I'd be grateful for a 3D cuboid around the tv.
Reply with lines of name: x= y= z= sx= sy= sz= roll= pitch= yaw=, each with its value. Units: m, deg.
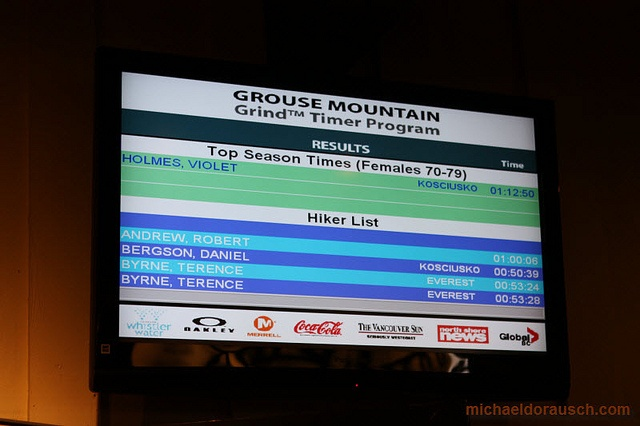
tv: x=0.005 y=0.085 z=2.946 sx=1.596 sy=0.857 sz=0.161 roll=2 pitch=-18 yaw=-16
